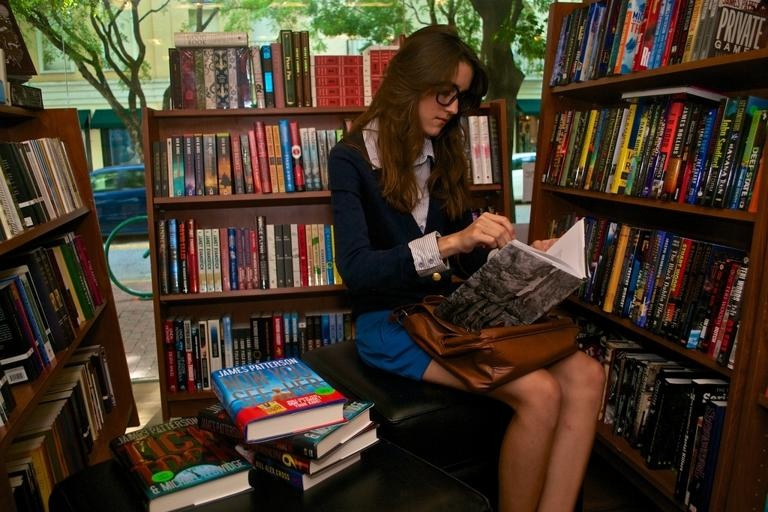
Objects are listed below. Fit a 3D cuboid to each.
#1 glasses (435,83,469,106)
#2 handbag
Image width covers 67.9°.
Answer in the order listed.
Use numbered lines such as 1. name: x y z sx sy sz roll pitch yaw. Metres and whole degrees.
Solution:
1. glasses: 0.262 -0.617 2.207 0.107 0.032 0.105 -3 4 -40
2. handbag: 0.342 0.325 2.060 0.666 0.274 0.352 2 18 17
